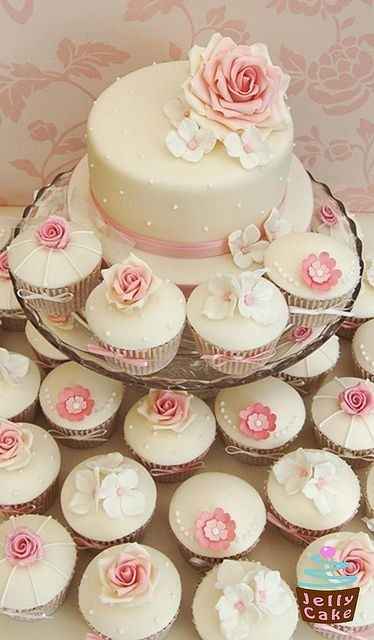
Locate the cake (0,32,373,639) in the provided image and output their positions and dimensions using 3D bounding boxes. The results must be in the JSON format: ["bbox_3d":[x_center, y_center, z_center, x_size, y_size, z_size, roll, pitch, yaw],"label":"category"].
[{"bbox_3d":[-0.016,-0.313,1.510,0.959,0.778,0.758,-8,32,-6],"label":"cake"}]

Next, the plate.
[{"bbox_3d":[0.005,0.009,1.446,0.852,0.256,0.853,1,58,-4],"label":"plate"}]
